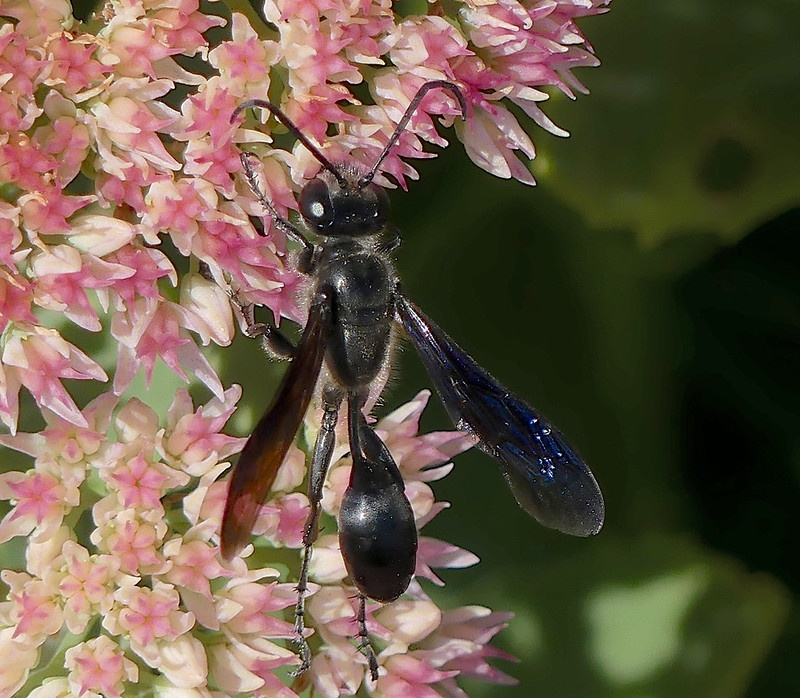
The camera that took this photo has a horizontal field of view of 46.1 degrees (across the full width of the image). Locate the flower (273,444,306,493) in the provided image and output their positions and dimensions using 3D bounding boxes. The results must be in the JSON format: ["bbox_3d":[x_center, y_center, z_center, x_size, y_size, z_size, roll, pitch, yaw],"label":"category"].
[{"bbox_3d":[-0.143,0.159,1.206,0.019,0.063,0.064,15,25,17],"label":"flower"}]

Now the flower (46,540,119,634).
[{"bbox_3d":[-0.356,0.264,1.072,0.093,0.096,0.042,-9,-5,2],"label":"flower"}]

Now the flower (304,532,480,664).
[{"bbox_3d":[-0.041,0.334,1.222,0.187,0.167,0.053,-7,-34,-28],"label":"flower"}]

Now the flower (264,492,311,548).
[{"bbox_3d":[-0.137,0.213,1.172,0.069,0.059,0.020,0,-4,-26],"label":"flower"}]
